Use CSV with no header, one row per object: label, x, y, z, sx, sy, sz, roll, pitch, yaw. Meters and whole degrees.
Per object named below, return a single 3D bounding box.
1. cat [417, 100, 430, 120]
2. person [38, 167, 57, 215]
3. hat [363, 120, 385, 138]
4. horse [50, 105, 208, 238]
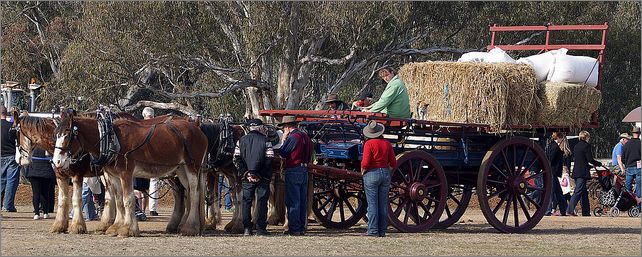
cat,6.169,-1.088,73.518,0.655,1.200,0.542,5,-9,-25
person,-16.680,3.692,75.102,1.013,2.937,0.918,0,2,-28
hat,3.123,0.043,72.528,1.174,1.063,0.341,2,-8,-5
horse,-10.954,1.461,72.531,4.329,10.377,4.714,0,0,-42
